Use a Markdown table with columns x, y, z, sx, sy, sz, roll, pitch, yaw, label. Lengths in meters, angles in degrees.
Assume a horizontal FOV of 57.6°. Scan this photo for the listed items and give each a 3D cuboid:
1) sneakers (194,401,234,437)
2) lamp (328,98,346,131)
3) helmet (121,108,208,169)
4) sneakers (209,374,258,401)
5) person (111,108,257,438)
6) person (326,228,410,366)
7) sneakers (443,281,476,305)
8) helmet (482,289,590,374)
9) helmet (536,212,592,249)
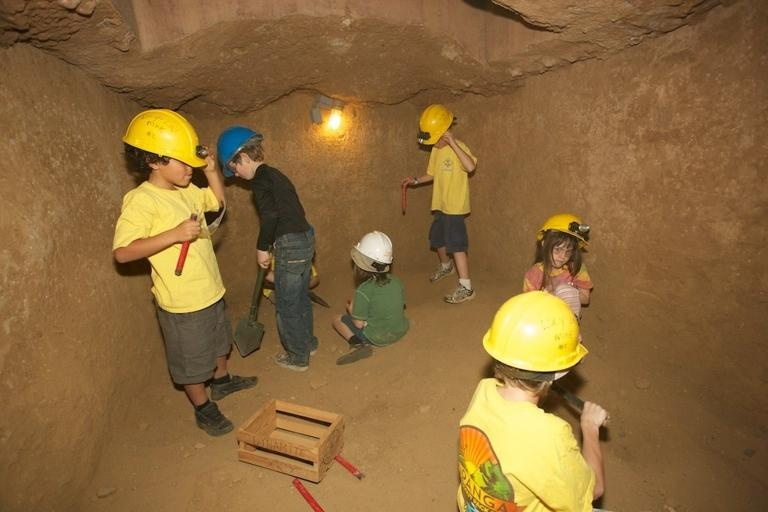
| x | y | z | sx | sy | sz | roll | pitch | yaw | label |
| --- | --- | --- | --- | --- | --- | --- | --- | --- | --- |
| -1.630 | 1.540 | 6.686 | 0.417 | 0.268 | 0.226 | 8 | 22 | 17 | sneakers |
| -0.571 | -1.731 | 8.535 | 0.230 | 0.320 | 0.073 | -2 | 18 | -28 | lamp |
| -1.928 | -0.998 | 6.229 | 0.605 | 0.323 | 0.474 | 21 | 22 | -4 | helmet |
| -1.544 | 1.316 | 7.163 | 0.559 | 0.225 | 0.196 | -10 | 22 | -34 | sneakers |
| -1.892 | 0.173 | 6.507 | 0.997 | 3.012 | 0.807 | -1 | 14 | -10 | person |
| -0.128 | 0.350 | 7.523 | 0.769 | 1.238 | 1.267 | 16 | 26 | 25 | person |
| 0.884 | 0.450 | 8.118 | 0.384 | 0.278 | 0.168 | -1 | 45 | 7 | sneakers |
| 1.127 | 0.544 | 5.141 | 0.682 | 0.447 | 0.558 | -21 | 30 | -31 | helmet |
| 1.784 | -0.321 | 7.014 | 0.404 | 0.210 | 0.332 | 1 | -4 | 39 | helmet |
